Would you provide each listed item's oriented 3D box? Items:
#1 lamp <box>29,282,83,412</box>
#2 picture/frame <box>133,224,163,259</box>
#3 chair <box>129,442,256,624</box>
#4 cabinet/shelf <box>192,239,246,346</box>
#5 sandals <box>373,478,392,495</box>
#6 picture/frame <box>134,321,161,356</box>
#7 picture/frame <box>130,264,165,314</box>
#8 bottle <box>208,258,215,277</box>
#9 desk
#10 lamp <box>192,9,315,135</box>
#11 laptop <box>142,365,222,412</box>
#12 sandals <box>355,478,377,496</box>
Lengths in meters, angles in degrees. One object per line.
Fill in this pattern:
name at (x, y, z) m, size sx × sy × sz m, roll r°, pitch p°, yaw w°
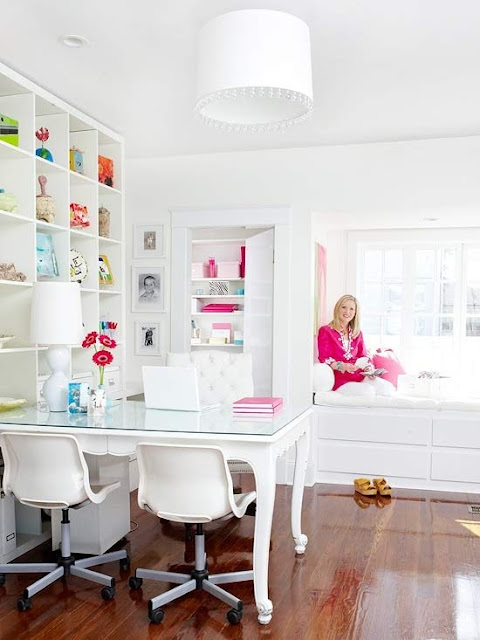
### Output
lamp at (-0.916, 0.126, 2.649) m, size 0.245 × 0.651 × 0.167 m, roll 1°, pitch -4°, yaw -22°
picture/frame at (-0.768, -0.670, 4.510) m, size 0.312 × 0.302 × 0.021 m, roll 0°, pitch -3°, yaw 15°
chair at (-0.180, 0.801, 2.143) m, size 0.558 × 0.636 × 0.533 m, roll -4°, pitch -7°, yaw 30°
cabinet/shelf at (-0.242, -0.280, 5.561) m, size 0.623 × 1.125 × 0.444 m, roll -1°, pitch -3°, yaw 8°
sandals at (1.034, 1.202, 3.832) m, size 0.082 × 0.044 × 0.123 m, roll 4°, pitch 3°, yaw 9°
picture/frame at (-0.774, 0.160, 4.493) m, size 0.308 × 0.376 × 0.030 m, roll 0°, pitch -2°, yaw 12°
picture/frame at (-0.775, -0.260, 4.514) m, size 0.439 × 0.555 × 0.026 m, roll 0°, pitch -1°, yaw 19°
bottle at (-0.288, -0.545, 5.598) m, size 0.086 × 0.212 × 0.077 m, roll 0°, pitch -3°, yaw -4°
desk at (-0.130, 0.950, 2.410) m, size 1.216 × 0.614 × 0.893 m, roll -1°, pitch -4°, yaw 18°
lamp at (0.036, -0.935, 2.044) m, size 0.423 × 0.260 × 0.411 m, roll 1°, pitch -2°, yaw -26°
laptop at (-0.286, 0.286, 2.616) m, size 0.303 × 0.209 × 0.250 m, roll -1°, pitch -2°, yaw 24°
sandals at (0.914, 1.211, 3.838) m, size 0.157 × 0.092 × 0.196 m, roll -1°, pitch -4°, yaw 13°
